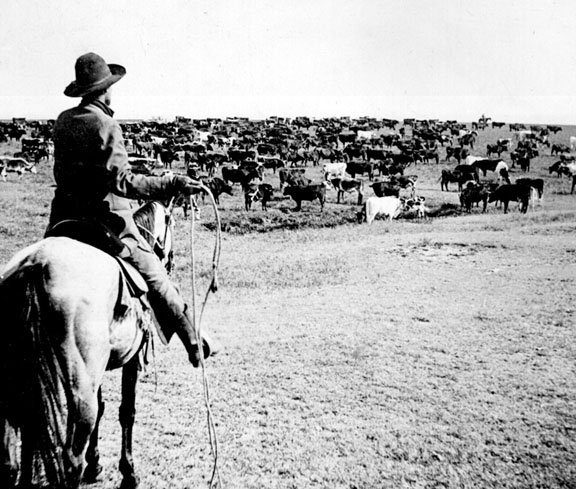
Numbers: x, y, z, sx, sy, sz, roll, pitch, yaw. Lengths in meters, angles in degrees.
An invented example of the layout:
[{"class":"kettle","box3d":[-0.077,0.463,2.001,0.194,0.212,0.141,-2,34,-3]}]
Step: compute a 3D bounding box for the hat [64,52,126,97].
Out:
[{"class":"hat","box3d":[-1.747,-1.522,5.305,0.513,0.270,0.623,-19,24,-15]}]
